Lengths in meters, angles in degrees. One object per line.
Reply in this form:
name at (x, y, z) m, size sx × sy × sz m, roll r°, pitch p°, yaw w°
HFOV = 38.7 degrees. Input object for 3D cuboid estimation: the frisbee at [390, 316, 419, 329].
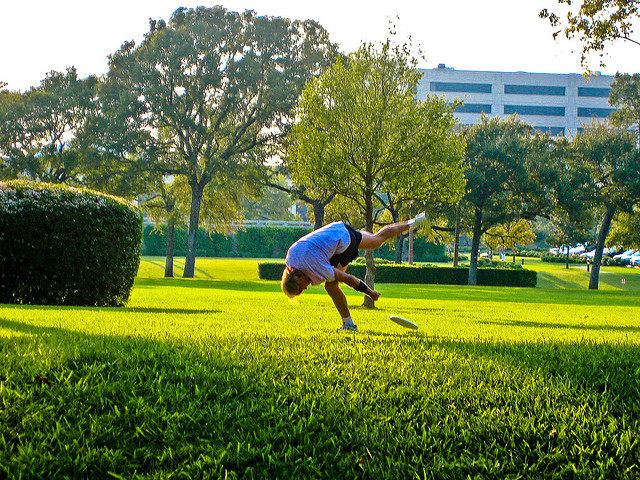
frisbee at (2.774, 2.820, 30.961) m, size 0.594 × 0.139 × 0.501 m, roll 23°, pitch -6°, yaw 0°

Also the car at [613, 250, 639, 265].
car at (27.291, 1.633, 82.603) m, size 1.180 × 1.940 × 4.134 m, roll 0°, pitch -1°, yaw 31°
